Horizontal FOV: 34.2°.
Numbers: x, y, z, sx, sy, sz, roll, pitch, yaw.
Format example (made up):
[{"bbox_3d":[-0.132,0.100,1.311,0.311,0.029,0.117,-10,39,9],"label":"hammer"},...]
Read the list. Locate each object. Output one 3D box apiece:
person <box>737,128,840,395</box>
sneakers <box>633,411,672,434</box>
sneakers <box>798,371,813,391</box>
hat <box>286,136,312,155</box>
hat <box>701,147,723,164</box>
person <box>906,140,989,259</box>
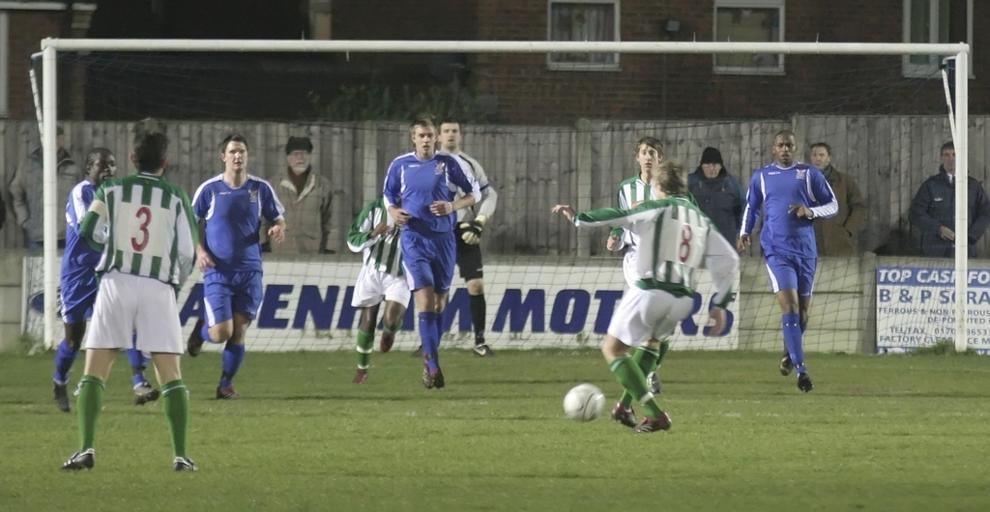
[{"bbox_3d":[4.786,0.086,25.945,1.432,4.132,0.970,0,2,9],"label":"person"},{"bbox_3d":[2.334,2.468,23.802,0.547,0.237,0.266,-1,2,0],"label":"sneakers"},{"bbox_3d":[4.931,2.006,25.549,0.231,0.309,0.284,0,1,7],"label":"sneakers"},{"bbox_3d":[-3.546,-1.969,29.057,0.456,0.347,0.444,0,1,-6],"label":"hat"},{"bbox_3d":[3.889,-1.734,28.764,0.301,0.263,0.367,-3,-16,19],"label":"hat"},{"bbox_3d":[8.106,-0.994,28.744,1.328,2.034,0.700,0,2,12],"label":"person"}]
